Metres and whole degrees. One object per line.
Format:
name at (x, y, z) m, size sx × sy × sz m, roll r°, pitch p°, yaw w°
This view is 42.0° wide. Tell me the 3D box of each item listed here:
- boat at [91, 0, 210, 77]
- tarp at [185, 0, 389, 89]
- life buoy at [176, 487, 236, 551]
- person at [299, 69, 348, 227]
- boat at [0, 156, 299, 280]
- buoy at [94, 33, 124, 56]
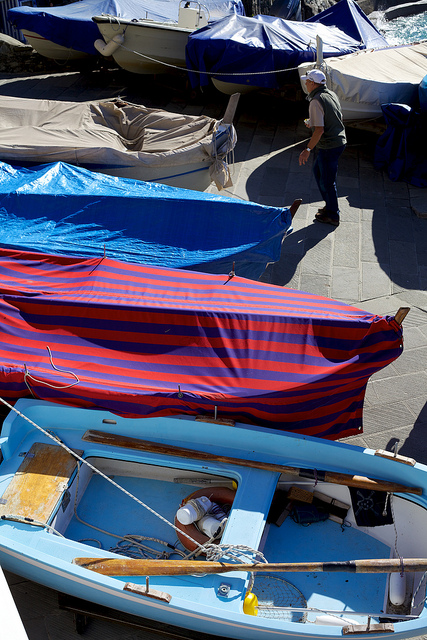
boat at (-1.236, -5.430, 10.710) m, size 2.716 × 1.288 × 1.291 m, roll 0°, pitch 50°, yaw -7°
tarp at (1.517, -4.944, 9.998) m, size 3.747 × 1.258 × 2.187 m, roll -13°, pitch 40°, yaw -22°
life buoy at (-0.074, 1.133, 3.276) m, size 0.266 × 0.200 × 0.449 m, roll 12°, pitch 23°, yaw 26°
person at (1.249, -1.920, 6.436) m, size 0.471 × 1.788 × 0.905 m, roll 9°, pitch 24°, yaw 19°
boat at (-0.713, -0.961, 5.288) m, size 2.775 × 0.830 × 0.833 m, roll 12°, pitch 48°, yaw 6°
buoy at (-1.922, -5.115, 10.357) m, size 0.706 × 0.323 × 0.183 m, roll 19°, pitch 29°, yaw 39°
